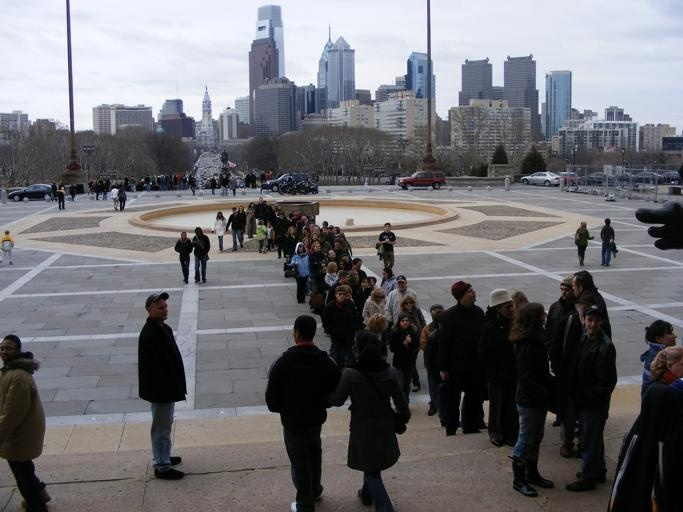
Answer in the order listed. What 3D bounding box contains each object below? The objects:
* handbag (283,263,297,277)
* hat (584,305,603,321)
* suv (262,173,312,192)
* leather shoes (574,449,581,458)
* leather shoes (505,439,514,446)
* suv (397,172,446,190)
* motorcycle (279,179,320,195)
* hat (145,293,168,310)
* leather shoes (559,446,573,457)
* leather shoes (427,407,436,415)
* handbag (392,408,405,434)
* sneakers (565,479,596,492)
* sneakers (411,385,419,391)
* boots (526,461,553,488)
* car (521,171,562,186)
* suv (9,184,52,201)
[{"bbox_3d":[-1.245,0.318,16.786,0.394,0.395,0.158,-2,-2,27],"label":"handbag"},{"bbox_3d":[2.785,0.639,7.716,0.156,0.203,0.243,1,19,10],"label":"hat"},{"bbox_3d":[-4.358,-5.535,55.490,3.774,1.352,2.085,0,9,-12],"label":"suv"},{"bbox_3d":[2.876,2.399,8.445,0.056,0.100,0.158,1,10,7],"label":"leather shoes"},{"bbox_3d":[2.081,2.294,8.587,0.111,0.082,0.060,5,11,28],"label":"leather shoes"},{"bbox_3d":[6.414,-6.306,57.344,3.227,1.442,1.634,1,6,-5],"label":"suv"},{"bbox_3d":[-3.307,-5.113,52.426,2.412,1.182,1.217,3,9,-6],"label":"motorcycle"},{"bbox_3d":[-2.186,0.509,8.207,0.249,0.175,0.193,-5,11,-24],"label":"hat"},{"bbox_3d":[2.760,2.385,8.513,0.157,0.126,0.128,3,11,19],"label":"leather shoes"},{"bbox_3d":[1.365,2.334,10.500,0.142,0.102,0.135,1,10,6],"label":"leather shoes"},{"bbox_3d":[0.601,1.754,7.305,0.121,0.291,0.169,0,10,4],"label":"handbag"},{"bbox_3d":[2.587,2.475,7.552,0.300,0.133,0.126,2,12,8],"label":"sneakers"},{"bbox_3d":[1.237,2.191,11.639,0.125,0.094,0.175,1,11,8],"label":"sneakers"},{"bbox_3d":[2.121,2.385,7.625,0.411,0.293,0.170,-1,6,-4],"label":"boots"},{"bbox_3d":[17.627,-6.777,61.213,1.211,0.869,2.763,-7,15,-38],"label":"car"},{"bbox_3d":[-23.185,-4.673,51.696,2.957,1.049,1.405,0,5,-11],"label":"suv"}]
